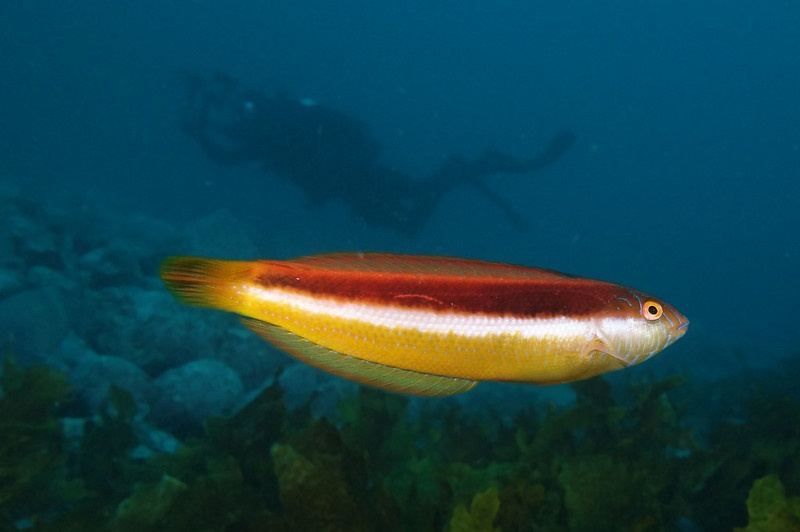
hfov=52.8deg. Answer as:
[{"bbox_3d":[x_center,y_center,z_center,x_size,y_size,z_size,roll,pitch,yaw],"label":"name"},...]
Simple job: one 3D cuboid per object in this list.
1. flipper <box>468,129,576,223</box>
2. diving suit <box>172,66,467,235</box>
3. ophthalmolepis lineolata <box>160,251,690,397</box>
[{"bbox_3d":[0.585,-0.407,3.764,0.197,0.366,0.483,-8,14,15],"label":"flipper"},{"bbox_3d":[-0.423,-0.518,3.677,1.279,0.462,0.134,16,-23,-3],"label":"diving suit"},{"bbox_3d":[0.127,0.242,3.190,2.014,0.472,0.639,2,-64,2],"label":"ophthalmolepis lineolata"}]
